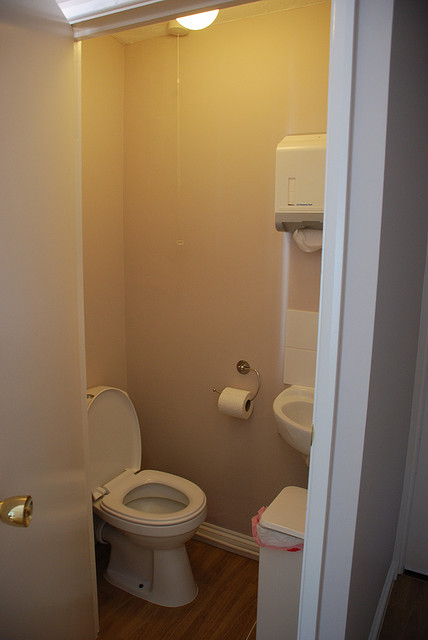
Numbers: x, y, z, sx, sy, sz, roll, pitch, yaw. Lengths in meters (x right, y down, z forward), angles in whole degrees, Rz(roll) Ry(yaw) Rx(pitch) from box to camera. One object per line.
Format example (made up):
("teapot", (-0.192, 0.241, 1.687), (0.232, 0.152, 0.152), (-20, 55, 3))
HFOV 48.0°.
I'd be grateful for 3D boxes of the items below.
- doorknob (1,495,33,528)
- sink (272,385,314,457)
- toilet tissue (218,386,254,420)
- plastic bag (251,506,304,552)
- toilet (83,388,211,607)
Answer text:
("doorknob", (-0.327, 0.315, 0.803), (0.037, 0.050, 0.053), (11, -10, -20))
("sink", (0.276, 0.363, 1.713), (0.146, 0.171, 0.446), (1, 6, 12))
("toilet tissue", (0.100, 0.344, 2.018), (0.124, 0.122, 0.119), (7, -17, 28))
("plastic bag", (0.171, 0.606, 1.314), (0.152, 0.079, 0.027), (4, 6, 36))
("toilet", (-0.246, 0.687, 2.280), (0.618, 1.177, 0.503), (1, 5, 22))
